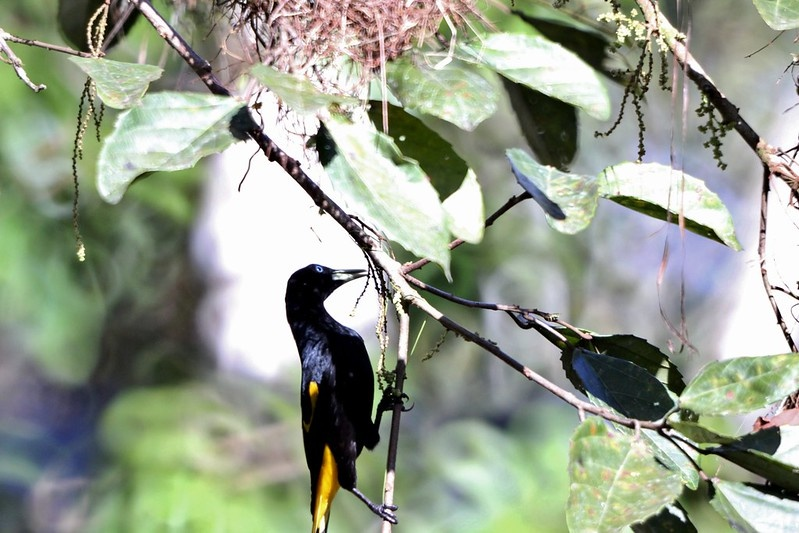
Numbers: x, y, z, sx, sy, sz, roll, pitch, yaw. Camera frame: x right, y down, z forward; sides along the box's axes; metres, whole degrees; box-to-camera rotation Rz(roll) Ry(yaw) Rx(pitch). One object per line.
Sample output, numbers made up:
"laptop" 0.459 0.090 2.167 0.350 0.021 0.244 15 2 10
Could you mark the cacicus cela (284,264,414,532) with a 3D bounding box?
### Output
"cacicus cela" -0.135 0.267 1.943 0.173 0.526 0.442 -3 -21 -16
